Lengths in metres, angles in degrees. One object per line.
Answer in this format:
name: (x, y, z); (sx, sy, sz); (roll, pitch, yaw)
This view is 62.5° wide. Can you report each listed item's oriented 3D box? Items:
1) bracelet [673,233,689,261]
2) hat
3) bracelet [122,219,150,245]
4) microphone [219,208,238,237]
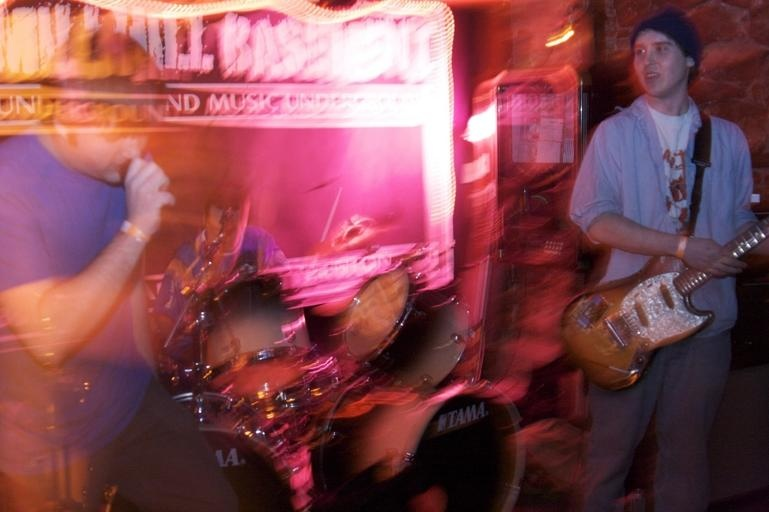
bracelet: (1.359, -0.040, 2.921); (0.086, 0.092, 0.068); (-5, 16, -43)
hat: (1.363, -1.060, 3.074); (0.310, 0.292, 0.148); (-6, 11, -10)
bracelet: (-1.018, -0.105, 2.625); (0.063, 0.092, 0.091); (-49, 11, 3)
microphone: (-0.795, -0.172, 3.265); (0.086, 0.144, 0.038); (7, 1, 14)
